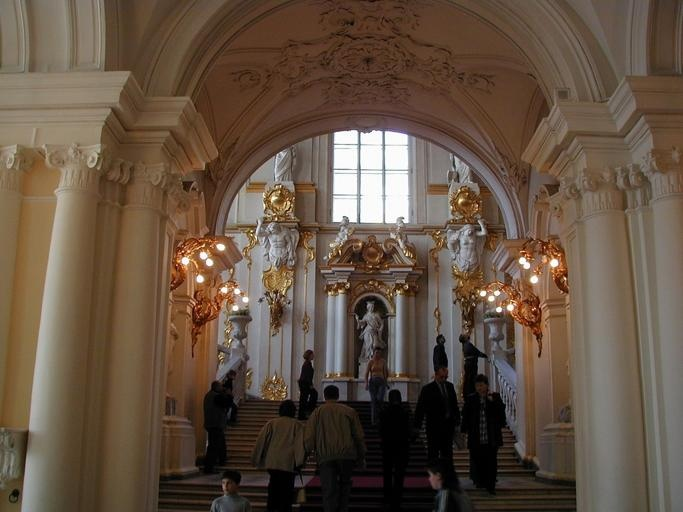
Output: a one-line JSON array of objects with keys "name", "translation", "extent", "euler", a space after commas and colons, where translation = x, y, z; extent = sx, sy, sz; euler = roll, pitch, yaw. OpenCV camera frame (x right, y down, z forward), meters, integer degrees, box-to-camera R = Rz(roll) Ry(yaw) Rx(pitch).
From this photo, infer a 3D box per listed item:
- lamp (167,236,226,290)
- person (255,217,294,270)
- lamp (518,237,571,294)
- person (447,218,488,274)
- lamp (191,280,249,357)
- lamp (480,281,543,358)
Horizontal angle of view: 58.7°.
[{"name": "lamp", "translation": [-2.251, 0.084, 9.335], "extent": [0.683, 0.854, 0.332], "euler": [8, -23, -12]}, {"name": "person", "translation": [-1.894, -0.384, 17.587], "extent": [1.243, 1.868, 0.469], "euler": [-1, -5, 1]}, {"name": "lamp", "translation": [3.008, 0.157, 9.229], "extent": [0.446, 0.999, 0.689], "euler": [3, 3, 3]}, {"name": "person", "translation": [3.623, -0.278, 17.558], "extent": [1.306, 2.013, 0.539], "euler": [0, -9, -3]}, {"name": "lamp", "translation": [-2.296, 1.168, 10.771], "extent": [0.760, 1.481, 1.021], "euler": [13, 9, -1]}, {"name": "lamp", "translation": [2.991, 1.053, 10.592], "extent": [0.904, 1.317, 0.560], "euler": [-5, -6, 20]}]
